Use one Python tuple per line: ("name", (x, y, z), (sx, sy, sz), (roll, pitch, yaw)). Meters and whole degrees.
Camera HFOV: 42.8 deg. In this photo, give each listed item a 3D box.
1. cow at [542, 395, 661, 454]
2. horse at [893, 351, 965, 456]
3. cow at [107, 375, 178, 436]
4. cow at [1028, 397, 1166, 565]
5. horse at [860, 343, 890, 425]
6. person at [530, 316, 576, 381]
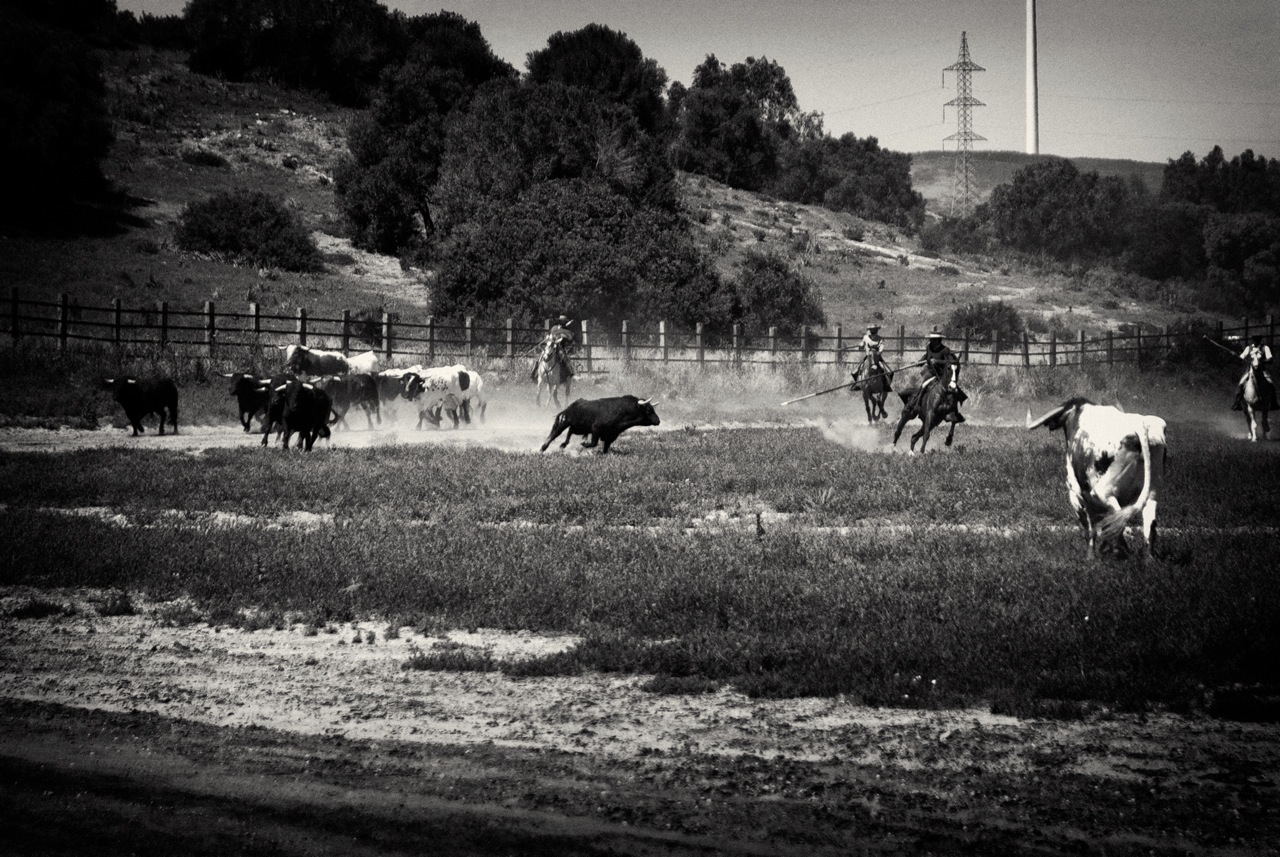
("cow", (-1.286, -0.037, 45.099), (2.487, 1.676, 2.886), (-5, 10, -39))
("horse", (8.135, -0.782, 45.646), (1.580, 3.109, 1.921), (0, 7, -3))
("cow", (-14.417, -0.601, 47.660), (1.764, 1.641, 2.841), (0, 8, -7))
("cow", (9.604, 1.082, 33.678), (1.059, 3.031, 2.174), (-5, 9, -39))
("horse", (7.782, -1.448, 54.006), (1.020, 2.616, 3.010), (2, 7, 8))
("person", (-2.511, -2.373, 54.211), (0.666, 1.622, 2.730), (-11, -9, -13))
